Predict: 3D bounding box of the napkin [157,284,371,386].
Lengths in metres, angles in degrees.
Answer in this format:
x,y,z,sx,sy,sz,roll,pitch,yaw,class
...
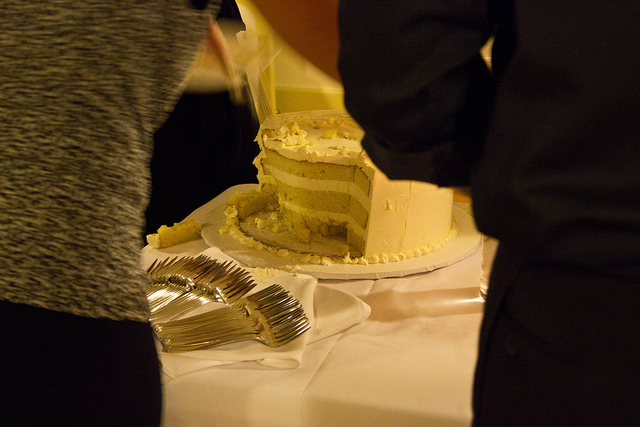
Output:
x,y,z,sx,sy,sz,roll,pitch,yaw,class
-0.107,0.211,1.090,0.312,0.070,0.182,-7,15,-23,napkin

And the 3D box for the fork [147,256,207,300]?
x,y,z,sx,sy,sz,roll,pitch,yaw,class
-0.338,0.141,1.321,0.029,0.021,0.271,14,26,14,fork

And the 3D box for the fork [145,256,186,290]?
x,y,z,sx,sy,sz,roll,pitch,yaw,class
-0.381,0.145,1.317,0.007,0.017,0.123,44,46,4,fork

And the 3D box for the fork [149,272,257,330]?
x,y,z,sx,sy,sz,roll,pitch,yaw,class
-0.263,0.198,1.190,0.180,0.027,0.037,-24,47,-22,fork

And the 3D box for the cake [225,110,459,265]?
x,y,z,sx,sy,sz,roll,pitch,yaw,class
0.035,-0.015,1.958,0.735,0.287,0.645,11,-7,38,cake

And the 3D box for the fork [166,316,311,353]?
x,y,z,sx,sy,sz,roll,pitch,yaw,class
-0.157,0.256,1.056,0.285,0.018,0.069,-7,30,-17,fork

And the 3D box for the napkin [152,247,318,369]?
x,y,z,sx,sy,sz,roll,pitch,yaw,class
-0.148,0.212,1.058,0.210,0.055,0.213,1,39,6,napkin
